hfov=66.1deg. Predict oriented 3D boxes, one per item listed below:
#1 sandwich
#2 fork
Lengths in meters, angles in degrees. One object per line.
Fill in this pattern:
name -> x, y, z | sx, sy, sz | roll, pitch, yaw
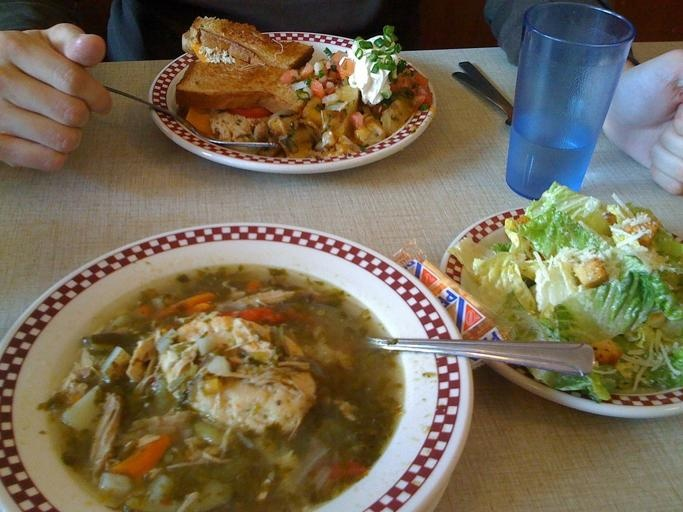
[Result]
sandwich -> -0.337, -0.591, 1.969 | 0.525, 0.135, 0.495 | 9, 48, 1
fork -> -0.473, -0.425, 1.597 | 0.596, 0.067, 0.045 | 18, 45, -13
